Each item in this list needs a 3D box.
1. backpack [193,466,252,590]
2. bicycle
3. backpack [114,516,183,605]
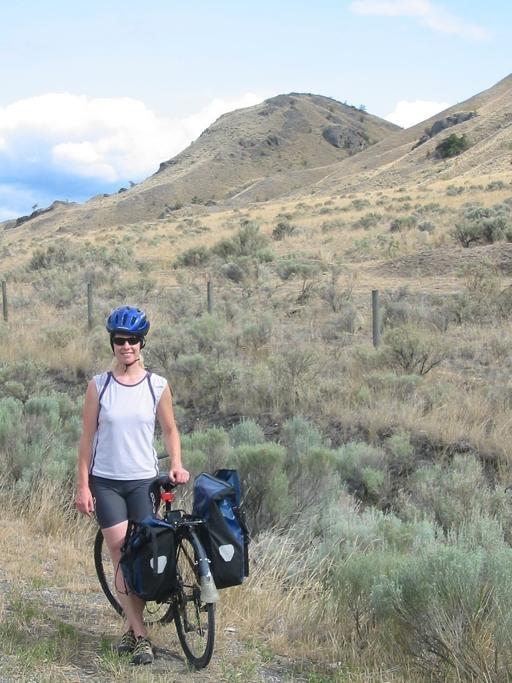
[{"bbox_3d":[-0.200,1.024,4.829,0.315,0.541,0.275,1,5,17],"label":"backpack"},{"bbox_3d":[-0.411,1.300,5.393,0.527,1.136,1.568,4,-9,-22],"label":"bicycle"},{"bbox_3d":[-0.569,1.155,4.748,0.307,0.589,0.522,2,1,-4],"label":"backpack"}]
